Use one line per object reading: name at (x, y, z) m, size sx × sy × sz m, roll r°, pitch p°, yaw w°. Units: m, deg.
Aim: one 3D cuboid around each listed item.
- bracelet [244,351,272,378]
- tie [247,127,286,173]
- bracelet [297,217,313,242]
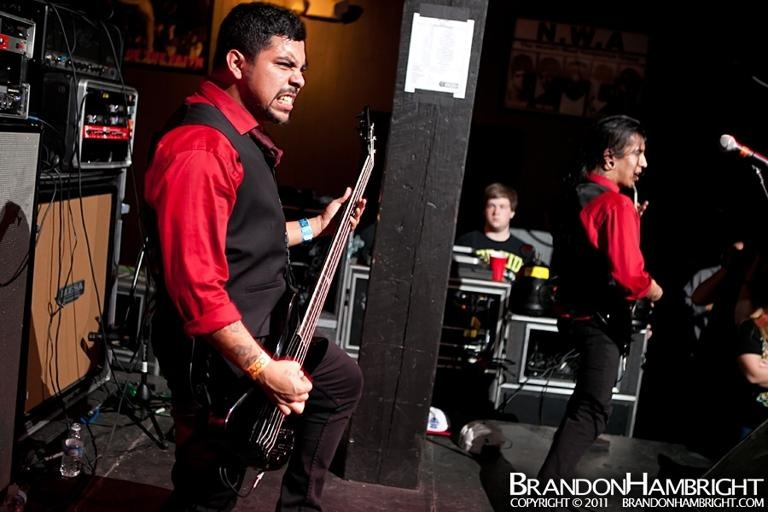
bracelet at (-0.539, 0.468, 2.662) m, size 0.109 × 0.103 × 0.110 m, roll -43°, pitch 2°, yaw -26°
tie at (-0.577, -0.510, 2.929) m, size 0.051 × 0.113 × 0.195 m, roll -21°, pitch -53°, yaw 26°
bracelet at (-0.440, -0.144, 3.436) m, size 0.113 × 0.105 × 0.114 m, roll 6°, pitch -6°, yaw -28°
